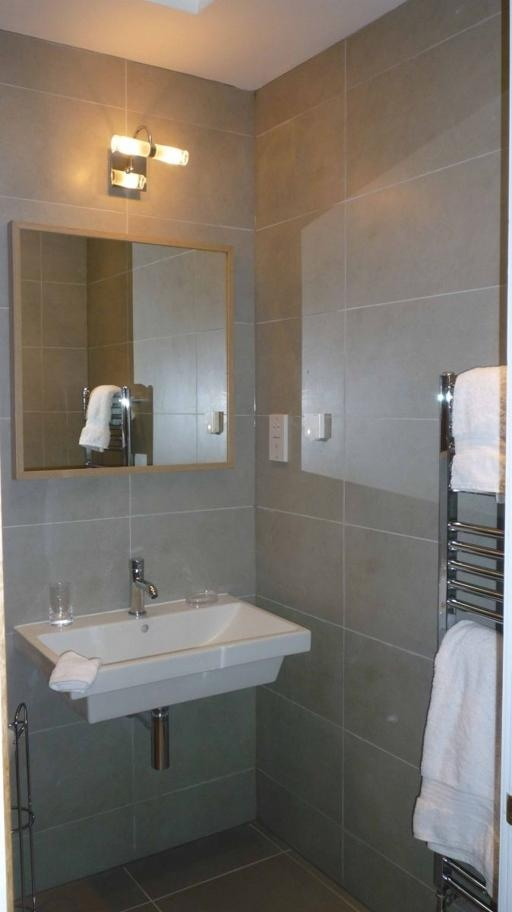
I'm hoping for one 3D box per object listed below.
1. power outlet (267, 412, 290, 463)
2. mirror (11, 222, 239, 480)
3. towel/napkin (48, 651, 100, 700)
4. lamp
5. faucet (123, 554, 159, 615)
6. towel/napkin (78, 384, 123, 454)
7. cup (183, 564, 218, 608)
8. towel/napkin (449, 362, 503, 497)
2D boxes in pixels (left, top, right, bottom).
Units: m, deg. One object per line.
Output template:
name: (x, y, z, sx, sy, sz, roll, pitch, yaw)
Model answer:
power outlet: (0.076, -0.064, 2.208, 0.019, 0.236, 0.135, 0, -1, -25)
mirror: (-0.414, -0.317, 1.995, 0.622, 0.804, 0.044, -2, 5, -33)
towel/napkin: (-0.412, 0.495, 1.539, 0.104, 0.053, 0.163, 1, 2, -12)
lamp: (-0.344, -0.868, 1.978, 0.137, 0.229, 0.258, 12, 15, 34)
faucet: (-0.341, 0.406, 2.028, 0.042, 0.177, 0.140, -8, 9, -38)
towel/napkin: (-0.463, -0.106, 1.961, 0.100, 0.185, 0.050, 3, 0, 32)
cup: (-0.182, 0.425, 2.224, 0.096, 0.139, 0.106, 0, 3, 8)
towel/napkin: (0.428, -0.051, 1.302, 0.038, 0.238, 0.154, 0, 2, -18)
